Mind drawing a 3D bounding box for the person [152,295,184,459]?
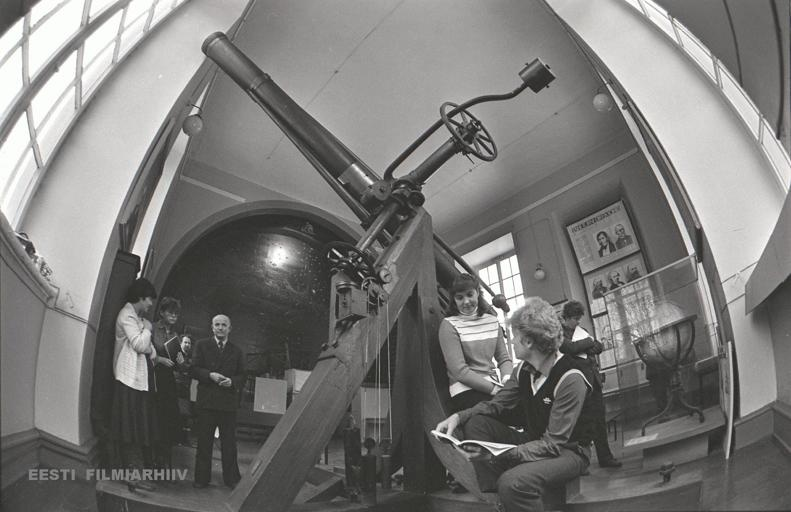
[{"bbox_3d":[-1.932,1.045,4.589,0.241,1.329,0.331,-2,-23,-8],"label":"person"}]

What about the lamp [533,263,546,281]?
[{"bbox_3d":[1.372,0.152,5.091,0.096,0.149,0.045,-13,-25,32],"label":"lamp"}]

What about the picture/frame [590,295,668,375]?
[{"bbox_3d":[2.132,0.575,4.794,0.606,0.806,0.082,-27,-55,30],"label":"picture/frame"}]

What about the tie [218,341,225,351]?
[{"bbox_3d":[-1.514,0.776,4.679,0.018,0.055,0.057,-25,-11,28],"label":"tie"}]

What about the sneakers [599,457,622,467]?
[{"bbox_3d":[1.804,1.714,4.500,0.237,0.089,0.051,9,-27,-30],"label":"sneakers"}]

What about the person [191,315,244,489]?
[{"bbox_3d":[-1.516,1.194,4.583,0.431,1.417,0.233,4,-25,-21],"label":"person"}]

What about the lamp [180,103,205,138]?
[{"bbox_3d":[-1.993,-1.319,5.307,0.219,0.312,0.112,0,9,-26],"label":"lamp"}]

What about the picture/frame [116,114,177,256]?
[{"bbox_3d":[-2.270,-0.697,4.977,0.445,1.365,0.116,-7,-23,3],"label":"picture/frame"}]

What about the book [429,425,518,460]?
[{"bbox_3d":[0.637,1.462,4.277,0.676,0.263,0.555,-7,-23,1],"label":"book"}]

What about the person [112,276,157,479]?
[{"bbox_3d":[-2.202,1.015,4.568,0.356,1.593,0.418,4,-25,-20],"label":"person"}]
